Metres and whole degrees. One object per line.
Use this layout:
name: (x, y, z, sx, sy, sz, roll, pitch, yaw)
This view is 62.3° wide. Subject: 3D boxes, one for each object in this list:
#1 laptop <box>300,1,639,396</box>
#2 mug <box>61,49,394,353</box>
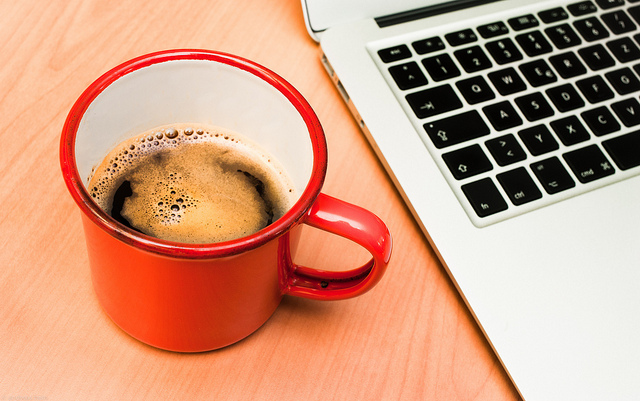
laptop: (0.197, 0.034, 0.772, 0.447, 0.265, 0.428, -20, 69, -24)
mug: (-0.081, -0.003, 0.500, 0.272, 0.232, 0.186, -6, 41, -3)
